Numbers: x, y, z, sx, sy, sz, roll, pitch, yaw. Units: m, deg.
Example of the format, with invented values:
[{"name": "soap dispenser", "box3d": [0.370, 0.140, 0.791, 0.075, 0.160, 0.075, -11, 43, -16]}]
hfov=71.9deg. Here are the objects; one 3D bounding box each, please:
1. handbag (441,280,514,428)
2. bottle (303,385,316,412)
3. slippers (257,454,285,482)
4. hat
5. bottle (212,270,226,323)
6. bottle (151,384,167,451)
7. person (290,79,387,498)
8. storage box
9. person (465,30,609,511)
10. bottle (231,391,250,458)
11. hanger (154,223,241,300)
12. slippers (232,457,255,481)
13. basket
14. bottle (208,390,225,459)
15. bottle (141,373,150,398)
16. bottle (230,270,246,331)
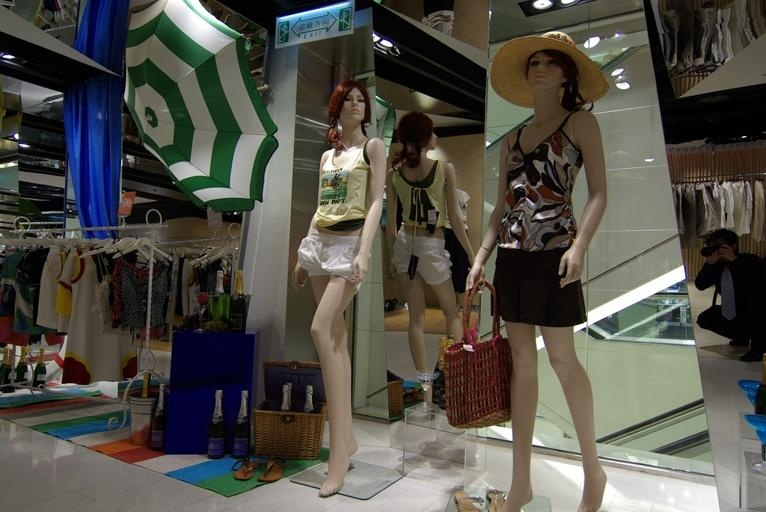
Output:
[{"name": "handbag", "box3d": [0.574, 0.596, 3.165, 0.405, 0.879, 0.231, -2, 4, -26]}, {"name": "bottle", "box3d": [-0.569, 1.105, 4.073, 0.062, 0.219, 0.083, -1, -2, 1]}, {"name": "slippers", "box3d": [-0.790, 1.531, 3.772, 0.164, 0.072, 0.262, -1, 5, -12]}, {"name": "hat", "box3d": [1.063, -1.124, 3.230, 0.499, 0.276, 0.627, -9, -12, 9]}, {"name": "bottle", "box3d": [-1.291, 0.312, 4.196, 0.088, 0.403, 0.083, 0, 4, 0]}, {"name": "bottle", "box3d": [-1.750, 1.262, 4.143, 0.131, 0.482, 0.202, -2, 4, -23]}, {"name": "person", "box3d": [-0.289, 0.154, 3.775, 0.597, 2.881, 0.695, -1, 4, -15]}, {"name": "storage box", "box3d": [-0.715, 1.213, 4.154, 0.554, 0.672, 0.516, 2, -4, 11]}, {"name": "person", "box3d": [0.951, 0.097, 3.203, 0.761, 2.892, 0.553, 1, 4, 23]}, {"name": "bottle", "box3d": [-1.065, 1.276, 4.005, 0.111, 0.485, 0.142, 0, 4, 10]}, {"name": "hanger", "box3d": [-1.612, 0.015, 4.796, 0.591, 0.894, 0.329, 1, -4, 1]}, {"name": "slippers", "box3d": [-0.967, 1.519, 3.760, 0.142, 0.069, 0.226, 1, 5, 14]}, {"name": "basket", "box3d": [-0.725, 1.388, 4.208, 0.514, 0.335, 0.519, 3, -10, 0]}, {"name": "bottle", "box3d": [-1.262, 1.279, 4.014, 0.119, 0.486, 0.154, -1, 4, -13]}, {"name": "bottle", "box3d": [-1.911, 1.040, 4.281, 0.061, 0.195, 0.135, -2, 4, -25]}, {"name": "bottle", "box3d": [-1.184, 0.344, 4.380, 0.118, 0.488, 0.444, -1, 4, -13]}]
